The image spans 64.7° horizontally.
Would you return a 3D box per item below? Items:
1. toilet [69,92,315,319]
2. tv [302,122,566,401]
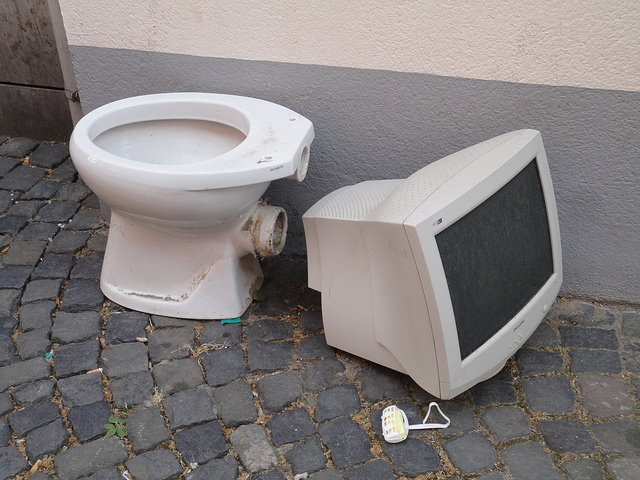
[{"bbox_3d":[-0.437,-0.139,2.199,1.077,0.747,0.809,9,36,1],"label":"toilet"},{"bbox_3d":[0.421,0.111,1.753,0.727,0.608,0.865,16,38,16],"label":"tv"}]
